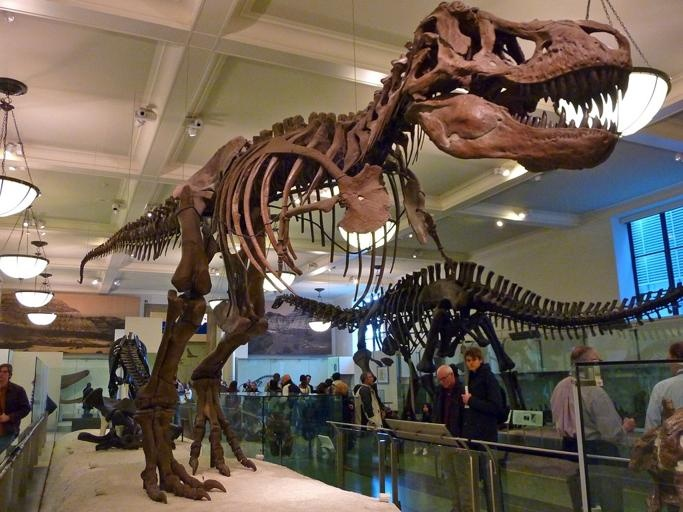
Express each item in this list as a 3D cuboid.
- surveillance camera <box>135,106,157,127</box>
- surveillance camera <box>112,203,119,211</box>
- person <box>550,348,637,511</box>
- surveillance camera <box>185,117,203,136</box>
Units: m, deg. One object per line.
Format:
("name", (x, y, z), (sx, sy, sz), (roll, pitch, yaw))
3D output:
("surveillance camera", (-2.538, -1.829, 6.419), (0.192, 0.102, 0.271), (-2, -4, -18))
("surveillance camera", (-4.314, -0.936, 9.405), (0.147, 0.158, 0.151), (-3, -5, 2))
("person", (1.874, 1.265, 3.813), (0.448, 1.179, 2.107), (-6, -13, 22))
("surveillance camera", (-2.024, -1.791, 6.758), (0.276, 0.265, 0.163), (-7, -11, 42))
